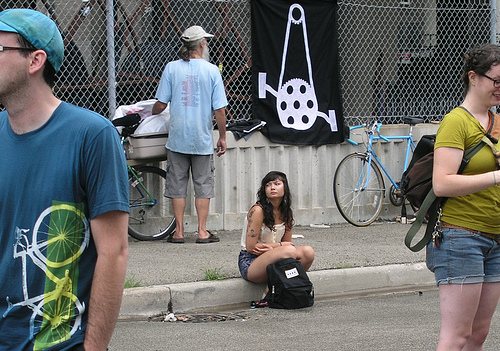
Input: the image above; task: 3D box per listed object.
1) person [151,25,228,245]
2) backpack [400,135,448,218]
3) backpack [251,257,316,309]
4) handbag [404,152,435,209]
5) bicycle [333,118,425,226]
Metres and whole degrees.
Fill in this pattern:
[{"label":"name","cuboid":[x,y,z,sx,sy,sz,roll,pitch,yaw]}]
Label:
[{"label":"person","cuboid":[-0.755,-0.513,8.324,0.913,2.727,0.487,2,8,-9]},{"label":"backpack","cuboid":[1.184,-0.059,4.478,0.244,0.482,0.339,20,24,21]},{"label":"backpack","cuboid":[0.295,1.094,6.651,0.589,0.471,0.680,-3,-4,-12]},{"label":"handbag","cuboid":[1.164,-0.007,4.396,0.237,0.360,0.201,-8,12,6]},{"label":"bicycle","cuboid":[2.205,-0.068,10.213,2.294,1.614,0.922,-3,4,-30]}]
